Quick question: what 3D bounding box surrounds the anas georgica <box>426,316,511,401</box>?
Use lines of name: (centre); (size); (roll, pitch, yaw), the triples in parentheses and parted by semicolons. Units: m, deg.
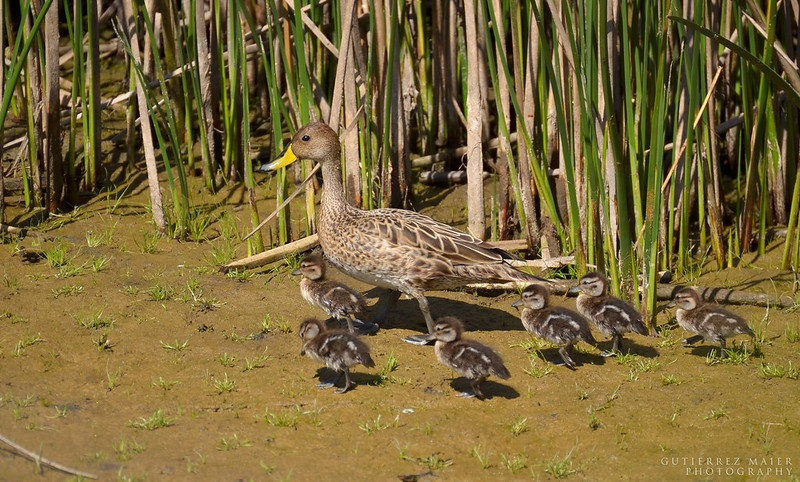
anas georgica: (0.678, 1.142, 8.818); (0.931, 0.716, 0.433); (4, 0, 20)

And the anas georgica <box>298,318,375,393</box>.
anas georgica: (-0.628, 1.133, 8.943); (0.852, 0.700, 0.453); (1, 5, 26)

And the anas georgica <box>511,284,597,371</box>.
anas georgica: (1.617, 0.862, 9.031); (0.350, 0.781, 0.871); (-18, 24, -39)

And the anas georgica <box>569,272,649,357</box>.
anas georgica: (2.146, 0.673, 9.078); (1.049, 0.904, 0.519); (8, 7, 36)

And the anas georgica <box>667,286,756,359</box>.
anas georgica: (3.155, 0.822, 9.001); (1.008, 0.707, 0.479); (8, 17, 31)

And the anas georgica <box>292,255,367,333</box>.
anas georgica: (-0.729, 0.561, 9.615); (0.978, 0.750, 0.429); (9, 19, 18)
